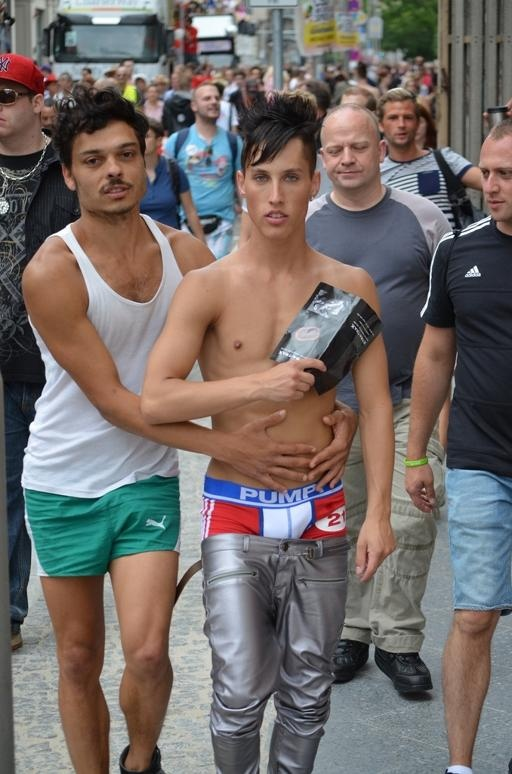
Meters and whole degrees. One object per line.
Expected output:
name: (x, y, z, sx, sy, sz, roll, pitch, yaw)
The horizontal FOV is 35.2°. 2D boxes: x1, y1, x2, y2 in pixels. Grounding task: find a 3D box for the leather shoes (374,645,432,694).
leather shoes: (0.592, 1.119, 3.344, 0.121, 0.145, 0.346, 7, 4, -19)
